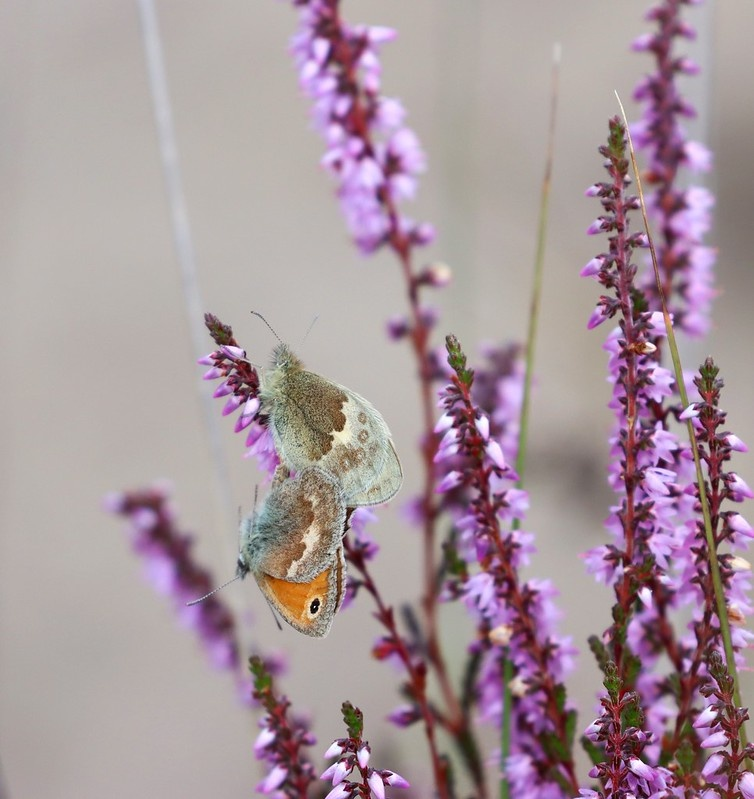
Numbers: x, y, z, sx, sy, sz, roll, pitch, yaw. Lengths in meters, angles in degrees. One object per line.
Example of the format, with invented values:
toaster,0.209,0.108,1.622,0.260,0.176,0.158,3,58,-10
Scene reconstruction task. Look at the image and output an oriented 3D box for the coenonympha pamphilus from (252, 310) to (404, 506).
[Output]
coenonympha pamphilus,-0.040,0.007,1.364,0.077,0.110,0.117,-34,-81,-13
